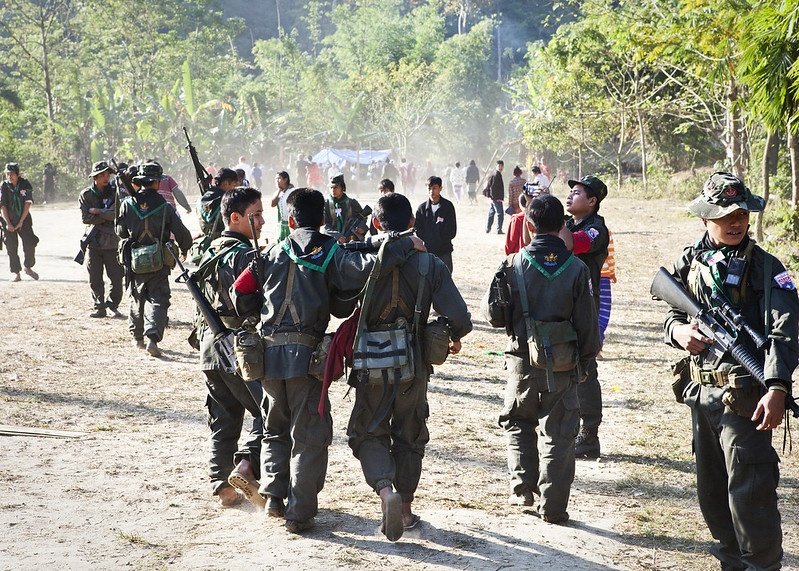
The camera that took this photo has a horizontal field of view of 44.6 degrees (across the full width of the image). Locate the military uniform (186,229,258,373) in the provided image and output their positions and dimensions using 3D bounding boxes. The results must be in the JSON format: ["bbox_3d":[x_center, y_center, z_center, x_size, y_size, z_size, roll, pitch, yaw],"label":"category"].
[{"bbox_3d":[-1.630,0.019,8.883,0.393,1.638,0.613,9,-2,26],"label":"military uniform"}]

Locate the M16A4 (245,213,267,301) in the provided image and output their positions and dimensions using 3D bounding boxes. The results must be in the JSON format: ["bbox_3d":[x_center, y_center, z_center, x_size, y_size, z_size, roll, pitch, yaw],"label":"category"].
[{"bbox_3d":[-1.245,-0.286,8.571,0.231,0.832,0.092,-5,-2,7],"label":"M16A4"}]

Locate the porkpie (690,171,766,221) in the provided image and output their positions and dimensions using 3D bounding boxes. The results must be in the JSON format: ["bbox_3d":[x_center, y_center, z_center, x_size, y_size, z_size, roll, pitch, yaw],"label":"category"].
[{"bbox_3d":[2.561,-0.702,7.757,0.443,0.197,0.415,-23,30,-27],"label":"porkpie"}]

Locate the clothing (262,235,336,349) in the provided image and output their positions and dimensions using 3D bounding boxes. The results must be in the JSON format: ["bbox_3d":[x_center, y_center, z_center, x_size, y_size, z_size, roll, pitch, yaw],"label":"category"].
[{"bbox_3d":[-0.850,0.060,8.309,0.812,1.069,0.556,3,2,2],"label":"clothing"}]

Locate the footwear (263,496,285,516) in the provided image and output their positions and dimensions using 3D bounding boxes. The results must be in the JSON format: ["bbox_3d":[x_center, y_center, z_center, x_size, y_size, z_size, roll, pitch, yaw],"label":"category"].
[{"bbox_3d":[-1.068,1.902,8.438,0.097,0.127,0.251,2,-1,1],"label":"footwear"}]

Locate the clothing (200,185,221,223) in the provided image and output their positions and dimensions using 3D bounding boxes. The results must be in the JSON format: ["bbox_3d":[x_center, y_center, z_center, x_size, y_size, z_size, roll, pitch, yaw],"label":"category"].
[{"bbox_3d":[-2.122,-0.921,11.033,0.257,0.375,0.160,5,-5,-24],"label":"clothing"}]

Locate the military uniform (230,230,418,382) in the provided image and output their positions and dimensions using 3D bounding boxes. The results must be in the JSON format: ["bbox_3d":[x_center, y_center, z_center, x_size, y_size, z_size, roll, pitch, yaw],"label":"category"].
[{"bbox_3d":[-0.600,0.199,8.305,1.126,0.938,0.407,5,-2,21],"label":"military uniform"}]

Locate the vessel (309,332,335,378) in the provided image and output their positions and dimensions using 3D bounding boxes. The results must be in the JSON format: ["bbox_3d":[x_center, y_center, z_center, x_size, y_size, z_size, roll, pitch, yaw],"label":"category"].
[{"bbox_3d":[-0.647,0.602,8.266,0.159,0.377,0.229,6,8,42],"label":"vessel"}]

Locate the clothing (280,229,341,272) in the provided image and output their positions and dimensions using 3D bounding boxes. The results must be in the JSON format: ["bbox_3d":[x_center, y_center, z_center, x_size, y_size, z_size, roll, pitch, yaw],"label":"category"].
[{"bbox_3d":[-0.736,-0.263,8.336,0.314,0.168,0.357,-20,47,-38],"label":"clothing"}]

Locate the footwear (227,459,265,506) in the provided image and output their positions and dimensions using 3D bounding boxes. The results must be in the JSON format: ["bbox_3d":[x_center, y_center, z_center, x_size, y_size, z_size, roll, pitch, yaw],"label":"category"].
[{"bbox_3d":[-1.324,1.720,8.453,0.301,0.412,0.188,0,6,-7],"label":"footwear"}]

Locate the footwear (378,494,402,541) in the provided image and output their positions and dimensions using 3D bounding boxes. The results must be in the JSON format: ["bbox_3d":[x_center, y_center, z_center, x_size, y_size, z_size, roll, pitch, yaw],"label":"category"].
[{"bbox_3d":[-0.078,1.876,7.932,0.159,0.376,0.150,-3,1,-11],"label":"footwear"}]

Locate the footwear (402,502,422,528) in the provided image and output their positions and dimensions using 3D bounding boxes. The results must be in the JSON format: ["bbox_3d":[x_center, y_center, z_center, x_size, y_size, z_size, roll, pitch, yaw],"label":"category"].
[{"bbox_3d":[0.090,1.951,8.359,0.093,0.193,0.277,-3,14,12],"label":"footwear"}]

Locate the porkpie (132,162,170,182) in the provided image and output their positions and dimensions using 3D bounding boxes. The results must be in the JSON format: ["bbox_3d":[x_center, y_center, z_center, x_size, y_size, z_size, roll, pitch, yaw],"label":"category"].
[{"bbox_3d":[-3.079,-1.376,11.943,0.278,0.152,0.304,-9,15,-5],"label":"porkpie"}]

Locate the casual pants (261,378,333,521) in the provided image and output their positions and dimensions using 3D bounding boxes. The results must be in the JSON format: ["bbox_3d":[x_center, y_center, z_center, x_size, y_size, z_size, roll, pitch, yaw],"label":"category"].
[{"bbox_3d":[-0.886,1.361,8.281,0.598,1.208,0.324,1,6,1],"label":"casual pants"}]
